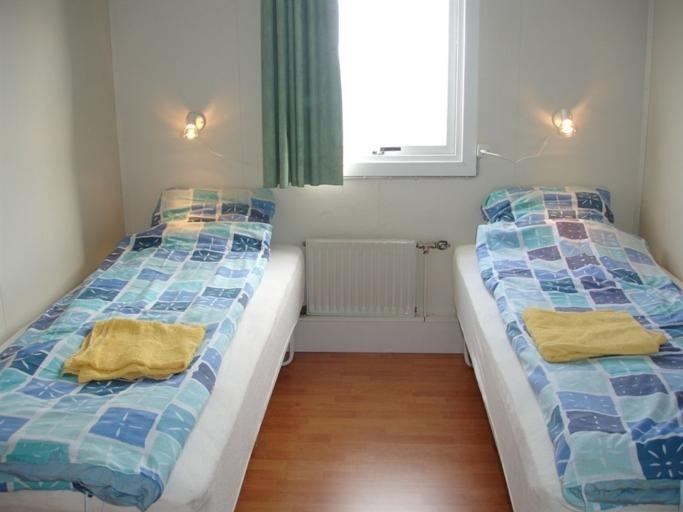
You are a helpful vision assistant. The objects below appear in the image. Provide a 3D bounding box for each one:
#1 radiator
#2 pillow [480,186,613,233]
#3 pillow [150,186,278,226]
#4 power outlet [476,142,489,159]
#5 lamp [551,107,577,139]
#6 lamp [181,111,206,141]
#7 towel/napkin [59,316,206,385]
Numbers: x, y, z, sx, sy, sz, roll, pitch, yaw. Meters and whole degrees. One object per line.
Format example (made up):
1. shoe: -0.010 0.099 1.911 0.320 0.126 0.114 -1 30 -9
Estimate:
1. radiator: 0.179 0.142 3.149 0.849 0.493 0.096 1 11 3
2. pillow: 1.177 -0.293 2.859 0.546 0.135 0.322 1 45 7
3. pillow: -0.744 -0.299 2.975 0.527 0.133 0.313 1 43 -2
4. power outlet: 0.857 -0.632 3.011 0.084 0.078 0.029 -2 11 -13
5. lamp: 1.300 -0.783 2.987 0.115 0.169 0.166 -4 58 11
6. lamp: -0.901 -0.802 3.070 0.135 0.168 0.087 0 10 -3
7. towel/napkin: -0.732 0.335 1.904 0.454 0.124 0.476 1 16 2
